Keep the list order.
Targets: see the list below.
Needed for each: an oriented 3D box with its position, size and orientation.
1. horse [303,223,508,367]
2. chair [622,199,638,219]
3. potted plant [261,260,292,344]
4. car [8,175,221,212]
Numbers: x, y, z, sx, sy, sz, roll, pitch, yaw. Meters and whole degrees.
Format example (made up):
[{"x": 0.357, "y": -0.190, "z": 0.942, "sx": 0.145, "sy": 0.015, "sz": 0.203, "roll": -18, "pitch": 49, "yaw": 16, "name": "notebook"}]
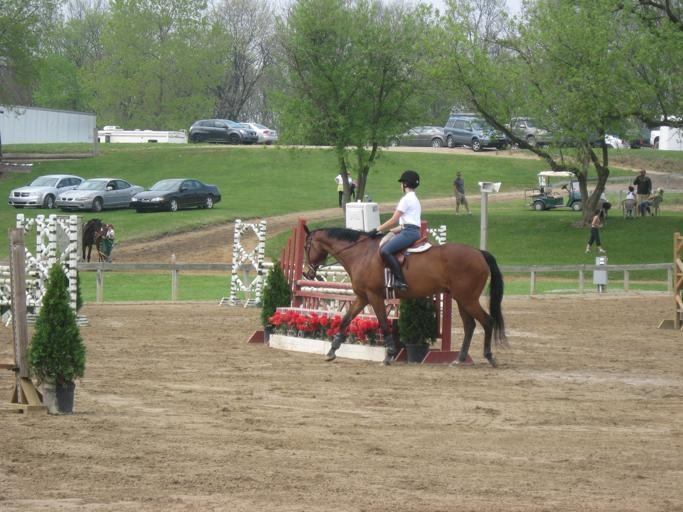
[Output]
[{"x": 2.283, "y": 1.398, "z": 53.659, "sx": 6.501, "sy": 4.300, "sz": 1.324, "roll": 2, "pitch": 13, "yaw": 10, "name": "horse"}, {"x": 14.329, "y": -2.294, "z": 79.568, "sx": 0.775, "sy": 1.022, "sz": 0.810, "roll": -1, "pitch": -12, "yaw": 7, "name": "chair"}, {"x": -2.296, "y": 1.645, "z": 55.836, "sx": 0.934, "sy": 2.591, "sz": 0.748, "roll": -4, "pitch": 5, "yaw": -20, "name": "potted plant"}, {"x": -11.562, "y": -2.937, "z": 80.994, "sx": 9.799, "sy": 1.637, "sz": 3.308, "roll": -1, "pitch": 13, "yaw": -5, "name": "car"}]
